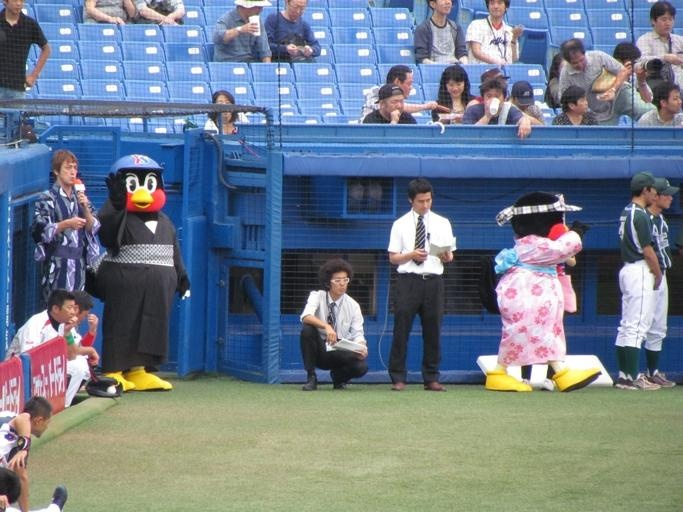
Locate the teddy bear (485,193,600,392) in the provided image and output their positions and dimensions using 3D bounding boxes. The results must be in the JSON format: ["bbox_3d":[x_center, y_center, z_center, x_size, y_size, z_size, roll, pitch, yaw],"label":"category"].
[{"bbox_3d":[1.847,0.345,15.775,0.912,1.845,0.633,2,15,4],"label":"teddy bear"}]

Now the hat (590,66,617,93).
[{"bbox_3d":[2.744,-1.825,17.524,0.239,0.248,0.095,28,-3,7],"label":"hat"}]

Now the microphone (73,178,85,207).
[{"bbox_3d":[-2.427,-0.583,15.528,0.118,0.237,0.401,-2,15,-9],"label":"microphone"}]

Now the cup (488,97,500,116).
[{"bbox_3d":[1.537,-1.502,16.963,0.101,0.153,0.154,5,44,7],"label":"cup"}]

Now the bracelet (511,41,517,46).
[{"bbox_3d":[2.014,-2.472,19.644,0.031,0.034,0.092,6,-14,-37],"label":"bracelet"}]

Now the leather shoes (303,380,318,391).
[{"bbox_3d":[-0.304,1.226,15.909,0.065,0.097,0.147,-2,-16,18],"label":"leather shoes"}]

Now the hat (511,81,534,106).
[{"bbox_3d":[1.871,-1.684,17.415,0.191,0.148,0.265,-2,23,-9],"label":"hat"}]

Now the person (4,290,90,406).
[{"bbox_3d":[-2.597,0.795,14.697,0.582,1.056,0.924,5,15,14],"label":"person"}]

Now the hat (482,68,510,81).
[{"bbox_3d":[1.601,-1.925,17.626,0.312,0.113,0.222,-1,-2,18],"label":"hat"}]

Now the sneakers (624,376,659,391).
[{"bbox_3d":[2.858,1.213,15.931,0.342,0.128,0.115,0,-1,-4],"label":"sneakers"}]

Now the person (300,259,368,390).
[{"bbox_3d":[-0.081,0.687,15.928,0.640,1.260,0.447,0,15,-2],"label":"person"}]

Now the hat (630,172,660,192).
[{"bbox_3d":[2.885,-0.703,15.966,0.223,0.122,0.149,-22,24,-17],"label":"hat"}]

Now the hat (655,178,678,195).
[{"bbox_3d":[3.069,-0.642,15.940,0.221,0.069,0.135,17,33,18],"label":"hat"}]

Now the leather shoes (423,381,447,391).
[{"bbox_3d":[0.885,1.236,15.873,0.147,0.044,0.090,9,15,-6],"label":"leather shoes"}]

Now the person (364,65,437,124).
[{"bbox_3d":[0.583,-1.710,17.699,0.683,0.819,0.687,0,-4,3],"label":"person"}]

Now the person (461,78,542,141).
[{"bbox_3d":[1.715,-1.558,17.053,0.641,0.595,0.896,5,8,13],"label":"person"}]

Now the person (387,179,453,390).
[{"bbox_3d":[0.743,0.272,15.852,0.607,1.923,0.625,1,15,1],"label":"person"}]

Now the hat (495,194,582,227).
[{"bbox_3d":[1.817,-0.427,15.799,0.610,0.162,0.354,-8,1,3],"label":"hat"}]

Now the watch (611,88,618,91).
[{"bbox_3d":[2.851,-1.730,17.539,0.035,0.025,0.036,5,5,43],"label":"watch"}]

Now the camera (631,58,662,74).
[{"bbox_3d":[3.242,-2.002,17.759,0.217,0.076,0.175,1,23,7],"label":"camera"}]

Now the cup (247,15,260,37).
[{"bbox_3d":[-0.990,-2.594,19.019,0.116,0.250,0.253,1,15,2],"label":"cup"}]

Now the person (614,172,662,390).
[{"bbox_3d":[2.846,0.243,15.936,0.463,1.976,0.677,3,16,9],"label":"person"}]

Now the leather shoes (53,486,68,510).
[{"bbox_3d":[-2.101,1.775,12.471,0.080,0.198,0.086,4,4,-1],"label":"leather shoes"}]
